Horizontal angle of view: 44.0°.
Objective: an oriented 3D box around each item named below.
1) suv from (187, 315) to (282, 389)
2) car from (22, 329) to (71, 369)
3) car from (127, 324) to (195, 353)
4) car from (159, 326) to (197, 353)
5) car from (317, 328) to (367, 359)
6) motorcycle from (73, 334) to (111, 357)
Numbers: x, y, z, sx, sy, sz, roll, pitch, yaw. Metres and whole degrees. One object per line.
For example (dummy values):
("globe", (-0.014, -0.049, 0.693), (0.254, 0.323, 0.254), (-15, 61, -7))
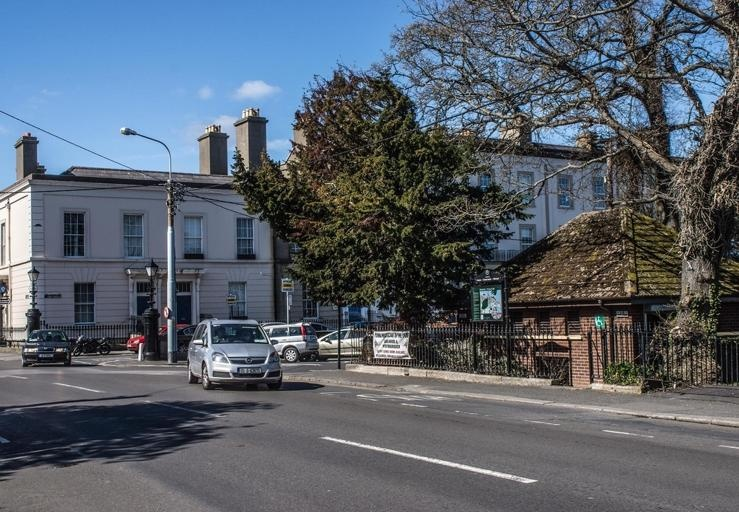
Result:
("suv", (-4.510, 3.060, 29.130), (1.820, 1.340, 2.979), (3, -10, -20))
("car", (-15.183, 4.260, 42.460), (2.110, 1.657, 1.608), (-2, 3, -29))
("car", (-10.346, 4.180, 47.820), (4.305, 1.391, 1.995), (2, -6, -15))
("car", (-9.866, 4.473, 47.302), (1.595, 1.142, 3.425), (0, 1, -25))
("car", (-1.138, 4.287, 44.449), (2.662, 1.266, 1.579), (0, -2, 29))
("motorcycle", (-15.763, 5.008, 51.396), (1.939, 1.043, 0.885), (4, -11, -21))
